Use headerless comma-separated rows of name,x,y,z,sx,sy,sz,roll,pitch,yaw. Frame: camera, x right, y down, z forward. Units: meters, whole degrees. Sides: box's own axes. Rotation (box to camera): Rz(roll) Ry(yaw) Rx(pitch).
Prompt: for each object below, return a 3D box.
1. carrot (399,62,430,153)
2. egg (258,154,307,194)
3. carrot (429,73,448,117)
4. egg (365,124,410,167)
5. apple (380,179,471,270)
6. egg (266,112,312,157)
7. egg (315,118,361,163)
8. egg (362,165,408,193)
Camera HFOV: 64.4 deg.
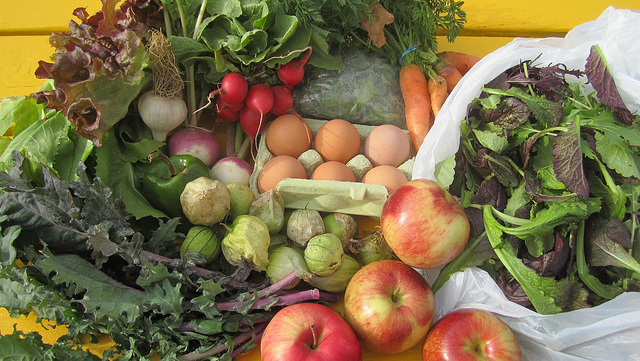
carrot,0.362,-0.269,1.979,0.089,0.361,0.113,1,3,-6
egg,-0.145,-0.028,1.889,0.150,0.132,0.149,11,24,42
carrot,0.461,-0.331,2.010,0.066,0.169,0.057,3,-20,-2
egg,0.247,-0.127,1.881,0.168,0.148,0.105,0,15,3
apple,0.344,0.145,1.676,0.281,0.283,0.108,1,15,6
egg,-0.117,-0.164,1.933,0.154,0.180,0.157,-9,-7,42
egg,0.065,-0.145,1.887,0.171,0.156,0.100,0,15,3
egg,0.237,-0.016,1.832,0.145,0.094,0.144,-1,9,16
